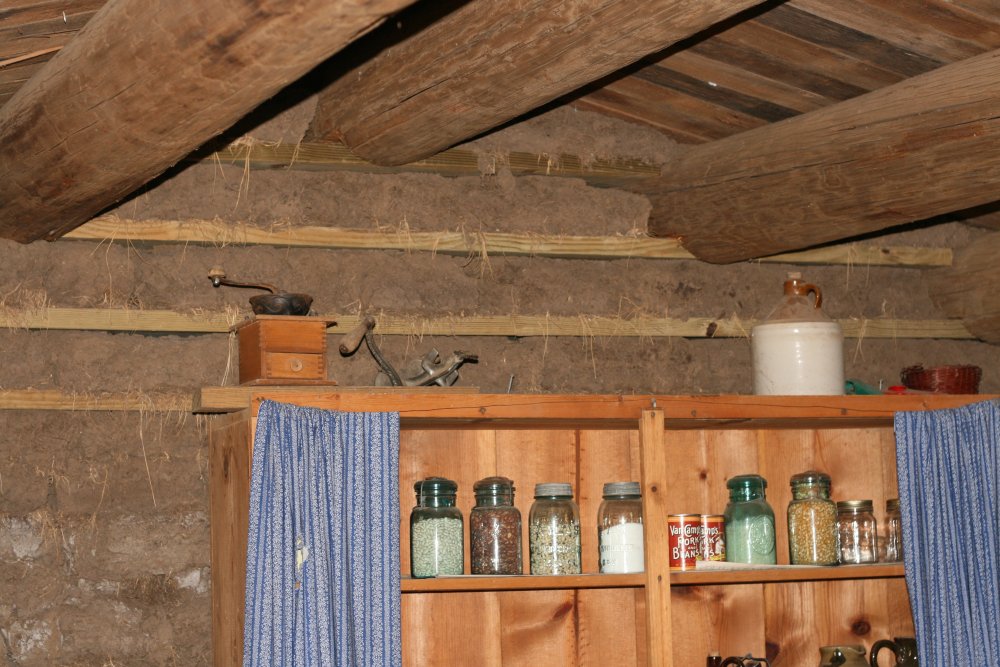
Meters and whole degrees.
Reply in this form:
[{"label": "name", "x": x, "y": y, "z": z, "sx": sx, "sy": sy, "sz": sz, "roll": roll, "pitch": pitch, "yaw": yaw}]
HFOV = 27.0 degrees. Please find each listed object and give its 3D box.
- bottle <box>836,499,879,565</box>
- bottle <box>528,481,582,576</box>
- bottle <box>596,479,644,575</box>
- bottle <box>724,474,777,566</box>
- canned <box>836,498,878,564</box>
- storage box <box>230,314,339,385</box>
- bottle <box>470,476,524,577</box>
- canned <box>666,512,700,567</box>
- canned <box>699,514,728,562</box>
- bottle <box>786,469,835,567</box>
[{"label": "bottle", "x": 1.239, "y": 0.689, "z": 7.301, "sx": 0.123, "sy": 0.227, "sz": 0.113, "roll": -2, "pitch": -13, "yaw": -1}, {"label": "bottle", "x": 0.179, "y": 0.664, "z": 7.158, "sx": 0.176, "sy": 0.311, "sz": 0.113, "roll": -3, "pitch": -13, "yaw": 1}, {"label": "bottle", "x": 0.406, "y": 0.652, "z": 7.146, "sx": 0.154, "sy": 0.343, "sz": 0.308, "roll": -3, "pitch": -12, "yaw": 2}, {"label": "bottle", "x": 0.862, "y": 0.640, "z": 7.272, "sx": 0.174, "sy": 0.342, "sz": 0.232, "roll": -3, "pitch": -12, "yaw": 5}, {"label": "canned", "x": 1.227, "y": 0.701, "z": 7.388, "sx": 0.207, "sy": 0.201, "sz": 0.189, "roll": -3, "pitch": -4, "yaw": 25}, {"label": "storage box", "x": -0.745, "y": 0.063, "z": 7.147, "sx": 0.307, "sy": 0.178, "sz": 0.293, "roll": 0, "pitch": -5, "yaw": -20}, {"label": "bottle", "x": -0.021, "y": 0.650, "z": 7.109, "sx": 0.175, "sy": 0.349, "sz": 0.191, "roll": -2, "pitch": -13, "yaw": -1}, {"label": "canned", "x": 0.631, "y": 0.702, "z": 7.136, "sx": 0.090, "sy": 0.202, "sz": 0.193, "roll": -8, "pitch": -13, "yaw": 24}, {"label": "canned", "x": 0.728, "y": 0.704, "z": 7.230, "sx": 0.077, "sy": 0.171, "sz": 0.115, "roll": -6, "pitch": -13, "yaw": 17}, {"label": "bottle", "x": 1.082, "y": 0.634, "z": 7.264, "sx": 0.174, "sy": 0.345, "sz": 0.228, "roll": -4, "pitch": -12, "yaw": 7}]
